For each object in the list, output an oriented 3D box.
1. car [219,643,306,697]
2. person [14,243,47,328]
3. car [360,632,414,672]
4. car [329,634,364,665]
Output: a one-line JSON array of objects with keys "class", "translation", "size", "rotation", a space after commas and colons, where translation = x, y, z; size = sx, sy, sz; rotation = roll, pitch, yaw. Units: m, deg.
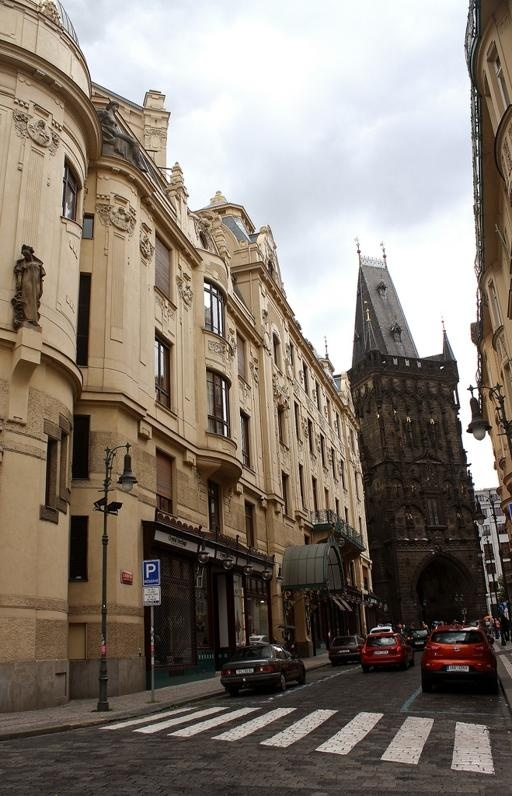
[{"class": "car", "translation": [0.268, 7.304, 16.113], "size": [1.141, 0.956, 2.765], "rotation": [-6, -27, 11]}, {"class": "person", "translation": [-5.567, -2.687, 14.722], "size": [0.720, 2.337, 0.430], "rotation": [7, -21, -36]}, {"class": "car", "translation": [5.028, 9.655, 22.731], "size": [1.206, 1.221, 2.729], "rotation": [-4, -11, 15]}, {"class": "car", "translation": [4.529, 12.897, 30.453], "size": [1.482, 1.325, 1.789], "rotation": [-10, -19, 10]}]
